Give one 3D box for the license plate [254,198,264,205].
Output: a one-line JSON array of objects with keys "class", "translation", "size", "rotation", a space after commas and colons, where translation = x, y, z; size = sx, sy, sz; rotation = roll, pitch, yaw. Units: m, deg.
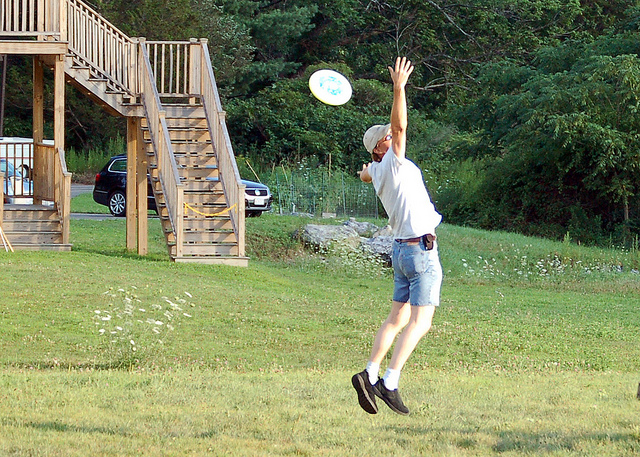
[{"class": "license plate", "translation": [-1.989, -0.907, 43.679], "size": [0.291, 0.184, 0.196], "rotation": [1, -3, -12]}]
